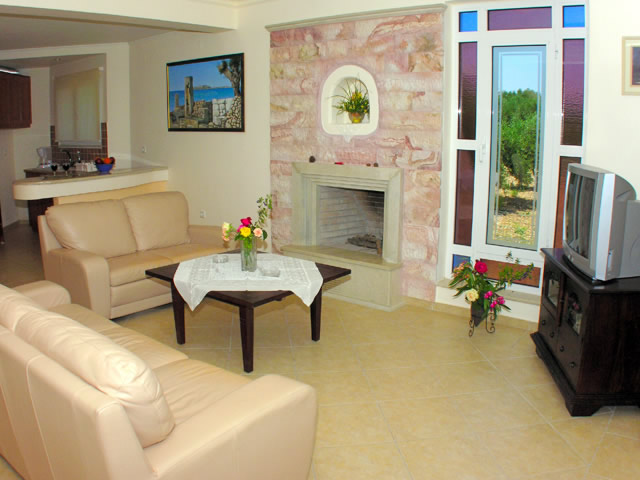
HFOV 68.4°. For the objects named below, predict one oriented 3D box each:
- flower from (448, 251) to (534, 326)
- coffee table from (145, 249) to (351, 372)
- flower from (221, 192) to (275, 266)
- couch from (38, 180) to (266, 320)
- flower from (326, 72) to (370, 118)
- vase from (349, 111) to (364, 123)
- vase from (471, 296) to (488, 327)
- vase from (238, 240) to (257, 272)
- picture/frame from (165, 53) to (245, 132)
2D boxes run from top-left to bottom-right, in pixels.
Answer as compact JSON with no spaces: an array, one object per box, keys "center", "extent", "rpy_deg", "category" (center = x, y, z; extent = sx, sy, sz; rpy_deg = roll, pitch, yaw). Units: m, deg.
[{"center":[1.501,0.502,4.250],"extent":[0.643,0.697,0.496],"rpy_deg":[6,14,15],"category":"flower"},{"center":[-0.312,0.669,3.880],"extent":[1.230,0.484,1.137],"rpy_deg":[-19,-12,32],"category":"coffee table"},{"center":[-0.632,-0.068,4.113],"extent":[0.368,0.654,0.443],"rpy_deg":[6,8,34],"category":"flower"},{"center":[-1.867,0.133,4.994],"extent":[0.921,1.136,1.737],"rpy_deg":[9,14,32],"category":"couch"},{"center":[0.375,-1.532,5.282],"extent":[0.434,0.424,0.266],"rpy_deg":[3,0,21],"category":"flower"},{"center":[0.394,-1.324,5.117],"extent":[0.125,0.092,0.128],"rpy_deg":[8,15,33],"category":"vase"},{"center":[1.424,0.645,4.213],"extent":[0.139,0.285,0.114],"rpy_deg":[3,14,17],"category":"vase"},{"center":[-0.640,0.120,4.030],"extent":[0.169,0.296,0.179],"rpy_deg":[-4,-5,-9],"category":"vase"},{"center":[-1.513,-1.997,6.326],"extent":[1.173,0.801,0.024],"rpy_deg":[7,12,33],"category":"picture/frame"}]
